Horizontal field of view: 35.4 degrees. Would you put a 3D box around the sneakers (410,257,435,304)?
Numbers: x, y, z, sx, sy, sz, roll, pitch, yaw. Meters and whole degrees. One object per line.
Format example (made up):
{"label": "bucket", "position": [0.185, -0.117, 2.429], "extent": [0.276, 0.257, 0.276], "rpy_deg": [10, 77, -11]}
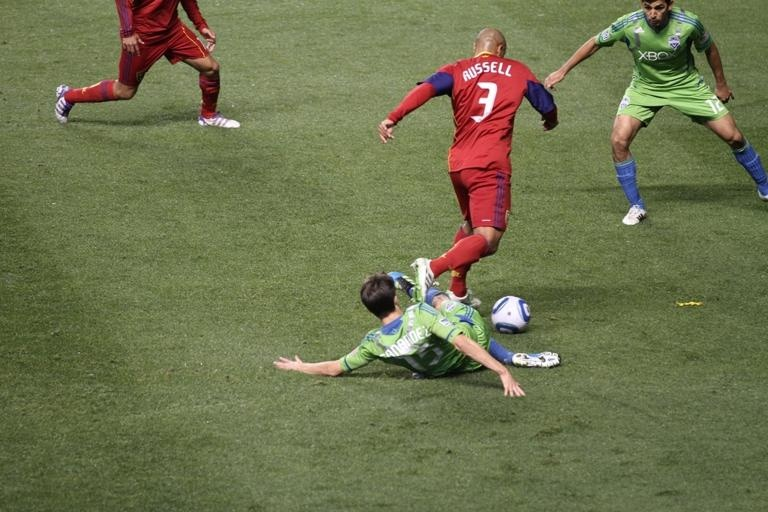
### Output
{"label": "sneakers", "position": [0.367, 0.233, 11.735], "extent": [0.218, 0.427, 0.168], "rpy_deg": [7, -5, -19]}

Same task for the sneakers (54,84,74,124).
{"label": "sneakers", "position": [-4.061, -1.903, 15.234], "extent": [0.243, 0.510, 0.199], "rpy_deg": [22, 26, 34]}

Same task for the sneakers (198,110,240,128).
{"label": "sneakers", "position": [-2.139, -1.728, 15.303], "extent": [0.557, 0.198, 0.190], "rpy_deg": [-1, 9, -2]}

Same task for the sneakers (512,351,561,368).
{"label": "sneakers", "position": [1.449, 0.990, 11.604], "extent": [0.454, 0.172, 0.166], "rpy_deg": [7, 5, -5]}

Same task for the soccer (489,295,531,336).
{"label": "soccer", "position": [1.229, 0.583, 11.940], "extent": [0.395, 0.353, 0.373], "rpy_deg": [-5, 1, 3]}

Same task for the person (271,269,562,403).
{"label": "person", "position": [0.441, 0.754, 11.356], "extent": [2.072, 0.763, 1.443], "rpy_deg": [-6, 4, 44]}

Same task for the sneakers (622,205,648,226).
{"label": "sneakers", "position": [2.826, -0.464, 13.663], "extent": [0.326, 0.133, 0.160], "rpy_deg": [-34, 49, -28]}
